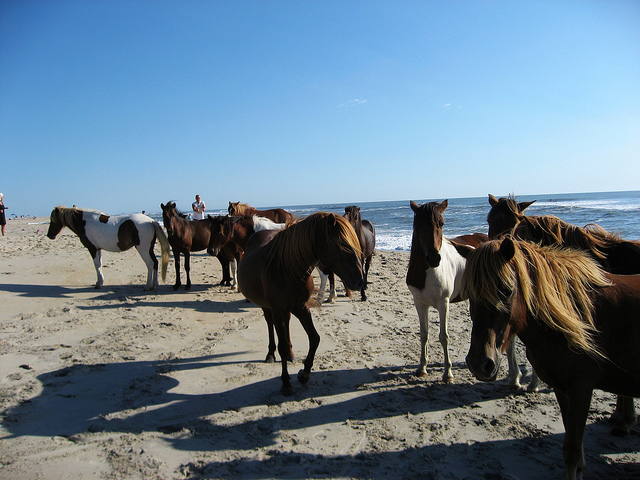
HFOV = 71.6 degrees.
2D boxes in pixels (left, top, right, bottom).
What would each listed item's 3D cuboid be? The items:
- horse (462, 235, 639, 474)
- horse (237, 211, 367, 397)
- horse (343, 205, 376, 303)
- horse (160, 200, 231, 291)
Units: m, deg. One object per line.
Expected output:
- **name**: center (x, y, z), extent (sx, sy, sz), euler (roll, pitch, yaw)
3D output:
- **horse**: center (2.117, 0.993, 4.039), extent (1.663, 2.064, 0.659), euler (-2, 9, -12)
- **horse**: center (-0.515, 0.823, 6.315), extent (0.935, 2.369, 3.098), euler (-2, 0, -25)
- **horse**: center (1.145, 0.381, 11.692), extent (0.823, 2.357, 3.463), euler (4, 4, 13)
- **horse**: center (-3.336, 0.152, 12.268), extent (0.699, 2.188, 2.799), euler (-8, -7, 33)
